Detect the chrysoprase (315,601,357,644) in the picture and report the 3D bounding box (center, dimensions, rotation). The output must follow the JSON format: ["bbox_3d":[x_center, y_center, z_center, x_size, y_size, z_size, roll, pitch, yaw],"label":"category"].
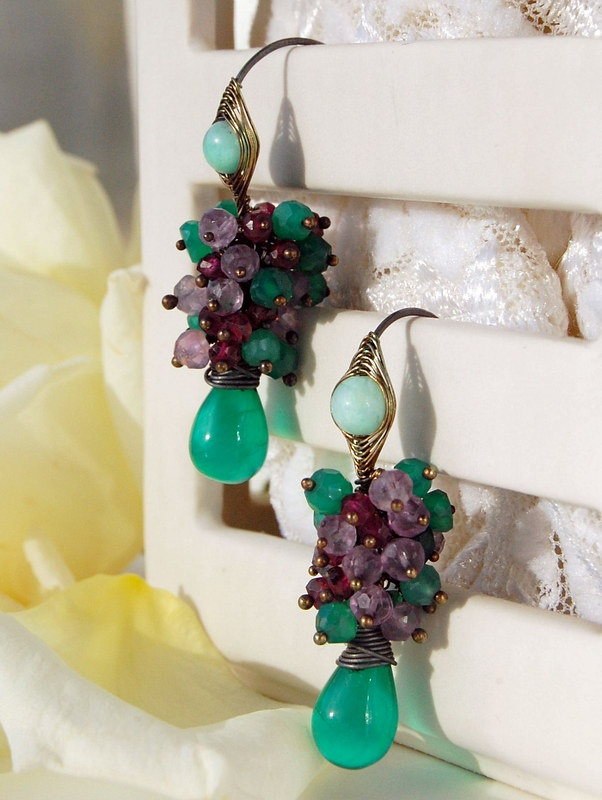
[{"bbox_3d":[0.021,0.131,0.506,0.024,0.016,0.022,9,89,4],"label":"chrysoprase"}]

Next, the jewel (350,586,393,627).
[{"bbox_3d":[0.041,0.119,0.497,0.026,0.009,0.023,19,90,3],"label":"jewel"}]

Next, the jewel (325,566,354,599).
[{"bbox_3d":[0.024,0.109,0.519,0.014,0.008,0.019,-29,82,20],"label":"jewel"}]
